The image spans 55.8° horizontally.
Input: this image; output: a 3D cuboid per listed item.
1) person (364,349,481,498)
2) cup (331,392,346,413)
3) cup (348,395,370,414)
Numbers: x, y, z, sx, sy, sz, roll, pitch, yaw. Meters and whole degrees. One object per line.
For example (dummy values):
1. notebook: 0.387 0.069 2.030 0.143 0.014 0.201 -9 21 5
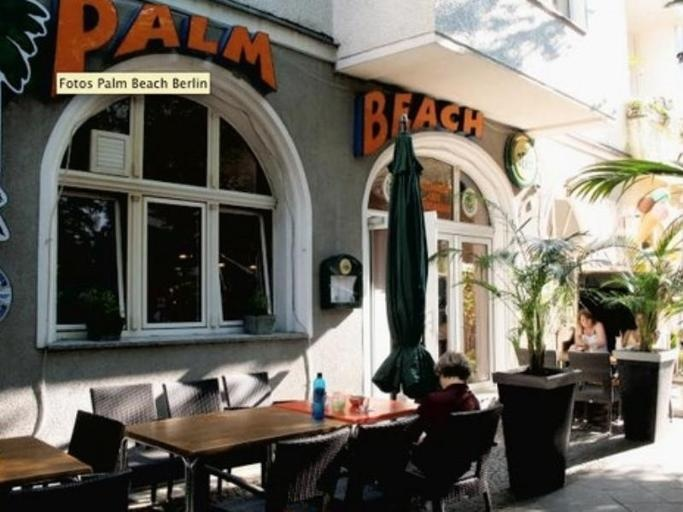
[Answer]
1. person: 0.949 1.532 5.899 0.579 1.346 0.645 0 0 -43
2. cup: -0.039 1.418 6.223 0.143 0.179 0.152 0 -8 0
3. cup: 0.164 1.432 6.235 0.130 0.115 0.160 1 1 -2
